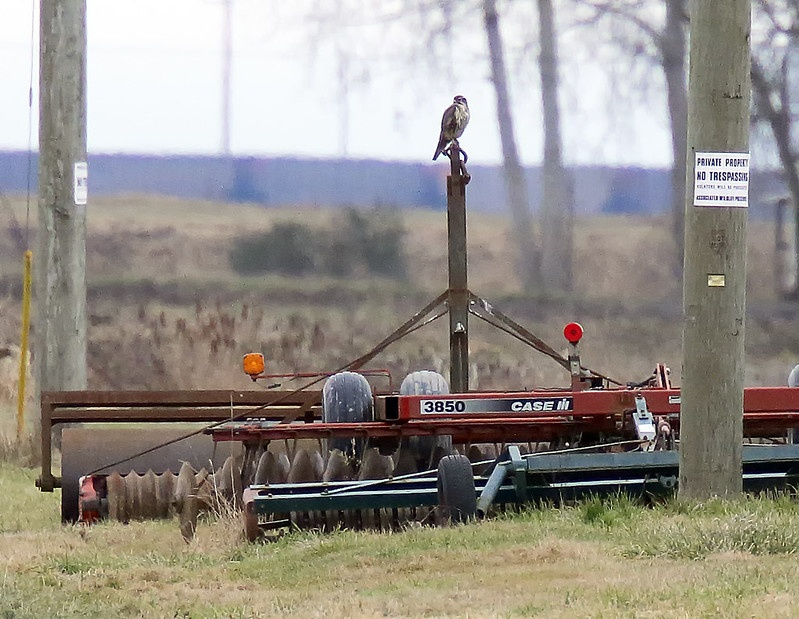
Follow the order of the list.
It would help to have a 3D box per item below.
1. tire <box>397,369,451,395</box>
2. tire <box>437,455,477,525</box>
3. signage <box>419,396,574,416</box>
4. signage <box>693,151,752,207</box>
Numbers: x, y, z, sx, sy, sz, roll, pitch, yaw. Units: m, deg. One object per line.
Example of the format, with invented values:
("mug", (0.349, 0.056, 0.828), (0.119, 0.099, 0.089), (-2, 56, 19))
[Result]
("tire", (0.372, 0.894, 30.630), (0.639, 0.296, 0.553), (-2, -3, 1))
("tire", (0.691, 2.066, 27.250), (0.241, 0.744, 0.645), (-2, -10, -5))
("signage", (1.200, 1.116, 28.733), (1.833, 0.198, 0.103), (-2, -3, -3))
("signage", (3.662, -1.562, 27.091), (0.536, 0.591, 0.065), (0, 4, 4))
